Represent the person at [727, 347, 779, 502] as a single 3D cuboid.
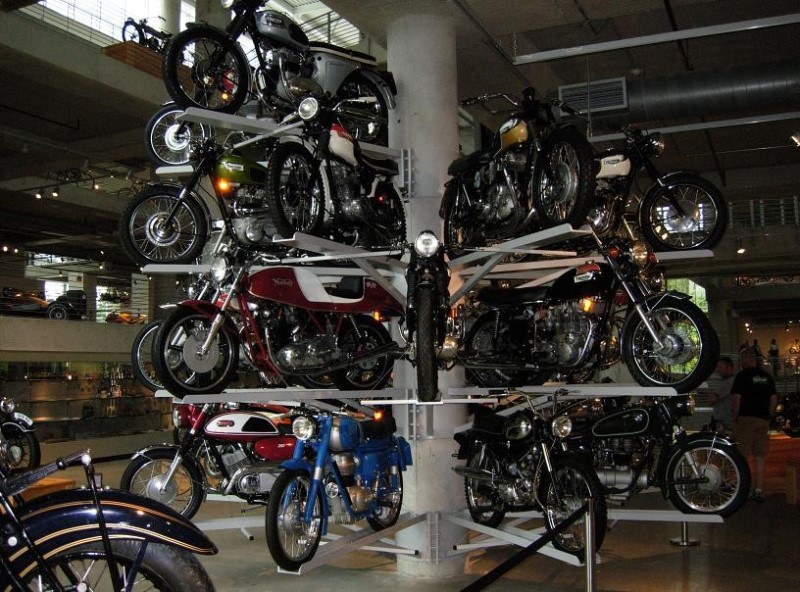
[{"bbox_3d":[4.356,1.566,8.324,0.529,1.877,0.392,-1,-3,2],"label":"person"}]
